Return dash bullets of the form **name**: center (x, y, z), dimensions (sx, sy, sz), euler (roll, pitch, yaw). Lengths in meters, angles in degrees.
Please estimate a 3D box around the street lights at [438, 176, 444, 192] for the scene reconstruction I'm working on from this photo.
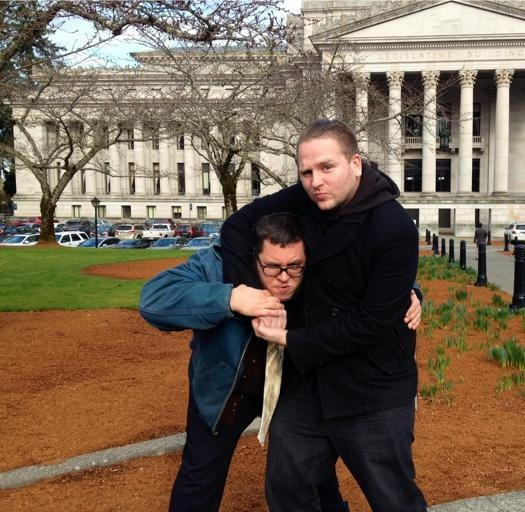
- **street lights**: center (17.710, -7.141, 60.389), dimensions (0.710, 1.387, 0.659), euler (1, 1, 20)
